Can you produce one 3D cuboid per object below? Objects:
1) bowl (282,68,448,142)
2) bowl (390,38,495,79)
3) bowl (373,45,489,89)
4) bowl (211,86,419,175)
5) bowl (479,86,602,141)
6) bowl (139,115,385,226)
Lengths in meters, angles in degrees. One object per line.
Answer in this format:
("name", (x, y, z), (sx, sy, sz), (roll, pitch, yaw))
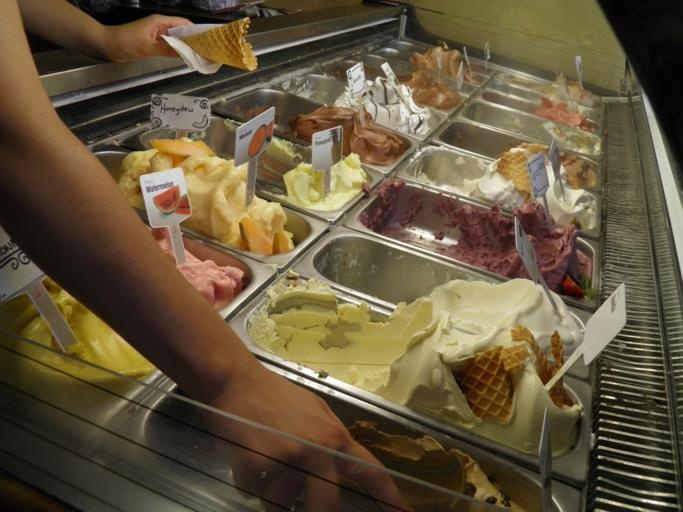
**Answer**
("bowl", (0.144, -0.817, 2.728), (0.736, 0.125, 0.488), (20, 39, 12))
("bowl", (0.776, -1.514, 3.818), (0.658, 0.111, 0.441), (18, 40, 20))
("bowl", (0.682, -1.336, 3.558), (0.588, 0.104, 0.408), (32, 45, 20))
("bowl", (-0.059, -0.641, 2.403), (0.734, 0.170, 0.461), (20, 39, 17))
("bowl", (1.217, -0.866, 3.143), (0.712, 0.118, 0.522), (17, 42, 14))
("bowl", (-0.257, -0.360, 2.165), (0.776, 0.129, 0.478), (29, 35, 7))
